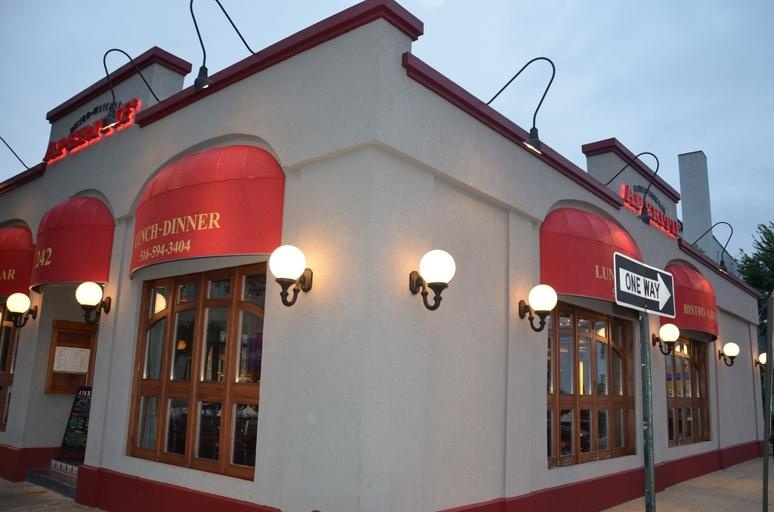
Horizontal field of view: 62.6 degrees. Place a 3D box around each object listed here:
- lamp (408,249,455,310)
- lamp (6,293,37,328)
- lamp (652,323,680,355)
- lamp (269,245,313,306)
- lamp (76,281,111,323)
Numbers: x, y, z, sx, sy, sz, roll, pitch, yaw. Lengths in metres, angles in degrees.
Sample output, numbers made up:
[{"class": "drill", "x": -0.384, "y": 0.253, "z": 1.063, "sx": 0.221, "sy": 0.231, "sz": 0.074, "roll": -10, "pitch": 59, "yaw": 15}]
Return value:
[{"class": "lamp", "x": 0.749, "y": 0.422, "z": 11.078, "sx": 0.430, "sy": 0.950, "sz": 0.757, "roll": 12, "pitch": -18, "yaw": -37}, {"class": "lamp", "x": -8.645, "y": 1.268, "z": 15.248, "sx": 0.585, "sy": 0.933, "sz": 1.205, "roll": 6, "pitch": -16, "yaw": -22}, {"class": "lamp", "x": 7.397, "y": 2.200, "z": 17.002, "sx": 0.636, "sy": 0.790, "sz": 0.753, "roll": -5, "pitch": -16, "yaw": 22}, {"class": "lamp", "x": -1.631, "y": 0.336, "z": 11.072, "sx": 0.557, "sy": 0.998, "sz": 0.725, "roll": -5, "pitch": -15, "yaw": 20}, {"class": "lamp", "x": -6.369, "y": 1.020, "z": 13.814, "sx": 0.712, "sy": 0.947, "sz": 0.526, "roll": 15, "pitch": -24, "yaw": -39}]
